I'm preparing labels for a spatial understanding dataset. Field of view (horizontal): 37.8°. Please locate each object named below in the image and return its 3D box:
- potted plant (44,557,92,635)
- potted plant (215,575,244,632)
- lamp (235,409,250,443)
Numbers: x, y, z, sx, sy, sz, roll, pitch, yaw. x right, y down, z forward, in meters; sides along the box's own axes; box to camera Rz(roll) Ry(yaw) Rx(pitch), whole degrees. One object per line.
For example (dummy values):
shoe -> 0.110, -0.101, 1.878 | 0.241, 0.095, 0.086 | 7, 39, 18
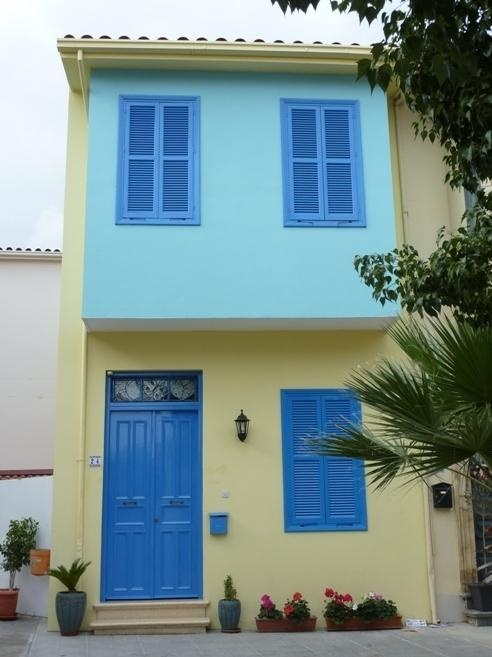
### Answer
potted plant -> -1.914, 2.894, 7.756 | 0.415, 0.773, 0.423 | 2, -13, -15
potted plant -> -0.178, 3.056, 7.973 | 0.253, 0.588, 0.247 | -1, -12, -2
lamp -> -0.040, 1.151, 8.464 | 0.184, 0.377, 0.190 | -1, -12, -1
